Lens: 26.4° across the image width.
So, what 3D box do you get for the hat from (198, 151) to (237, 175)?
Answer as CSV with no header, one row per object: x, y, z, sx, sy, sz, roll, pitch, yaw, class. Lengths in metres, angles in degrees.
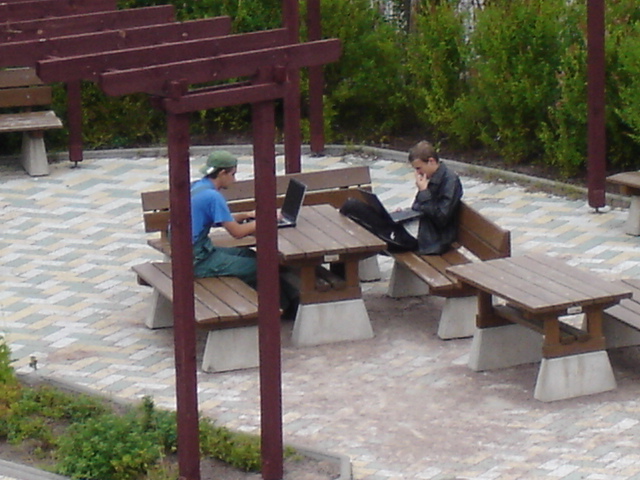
-0.887,-0.667,11.944,0.288,0.140,0.183,-7,19,-19,hat

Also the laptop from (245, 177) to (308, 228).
-0.395,-0.306,12.438,0.467,0.374,0.530,4,10,-12,laptop
